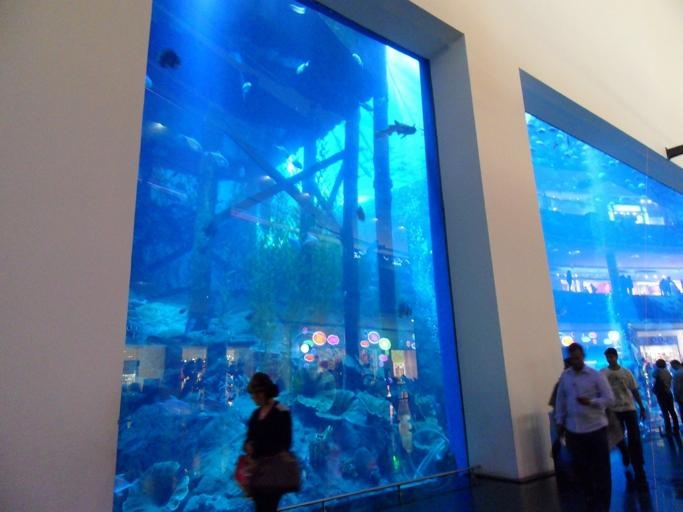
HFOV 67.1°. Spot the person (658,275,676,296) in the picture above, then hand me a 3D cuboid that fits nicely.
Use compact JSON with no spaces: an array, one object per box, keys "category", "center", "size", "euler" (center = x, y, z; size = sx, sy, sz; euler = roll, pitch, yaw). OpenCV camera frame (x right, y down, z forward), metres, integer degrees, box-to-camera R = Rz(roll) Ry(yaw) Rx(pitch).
[{"category":"person","center":[7.674,0.709,12.236],"size":[0.728,0.472,0.098],"euler":[5,-12,-37]}]

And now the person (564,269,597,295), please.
[{"category":"person","center":[4.645,0.493,10.142],"size":[0.962,0.472,0.127],"euler":[5,-11,-36]}]

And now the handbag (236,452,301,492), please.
[{"category":"handbag","center":[-0.657,1.871,4.595],"size":[0.494,0.527,0.314],"euler":[-3,-14,4]}]
